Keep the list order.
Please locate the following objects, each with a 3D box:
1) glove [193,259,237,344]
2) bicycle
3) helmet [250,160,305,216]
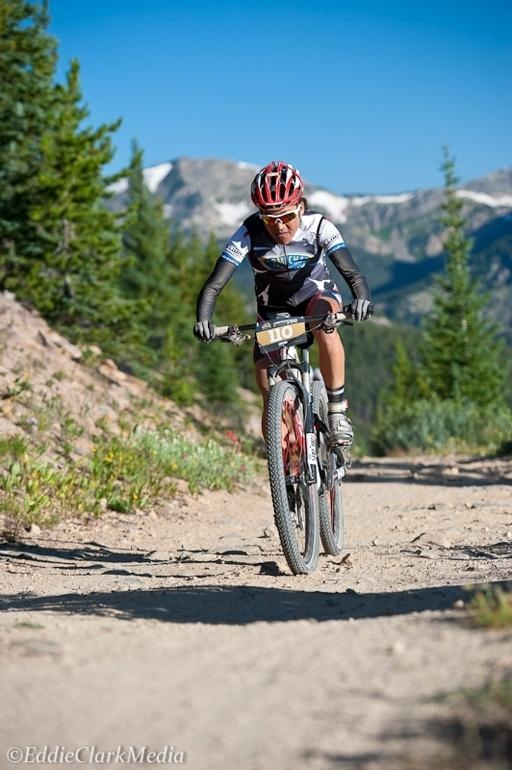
[{"bbox_3d":[-0.272,-0.488,5.020,0.175,0.188,0.658,0,50,25],"label":"glove"},{"bbox_3d":[0.278,0.327,4.997,0.678,1.550,1.395,-3,-3,15],"label":"bicycle"},{"bbox_3d":[0.129,-1.120,4.761,0.322,0.321,0.236,-2,-3,-13],"label":"helmet"}]
